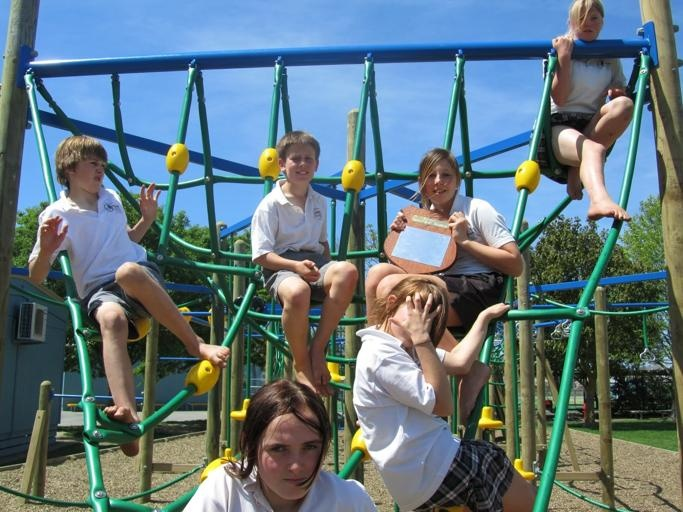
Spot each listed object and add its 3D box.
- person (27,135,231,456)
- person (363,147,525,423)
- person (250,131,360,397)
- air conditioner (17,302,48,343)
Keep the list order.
[{"bbox_3d":[-1.453,0.099,4.702,1.094,1.916,0.691,-8,-13,36],"label":"person"},{"bbox_3d":[0.668,0.221,4.899,0.946,1.899,0.965,3,-15,12],"label":"person"},{"bbox_3d":[-0.260,0.000,4.900,0.633,1.839,0.660,4,-11,-22],"label":"person"},{"bbox_3d":[-5.032,1.116,12.037,0.211,0.610,0.606,-1,-12,2],"label":"air conditioner"}]
